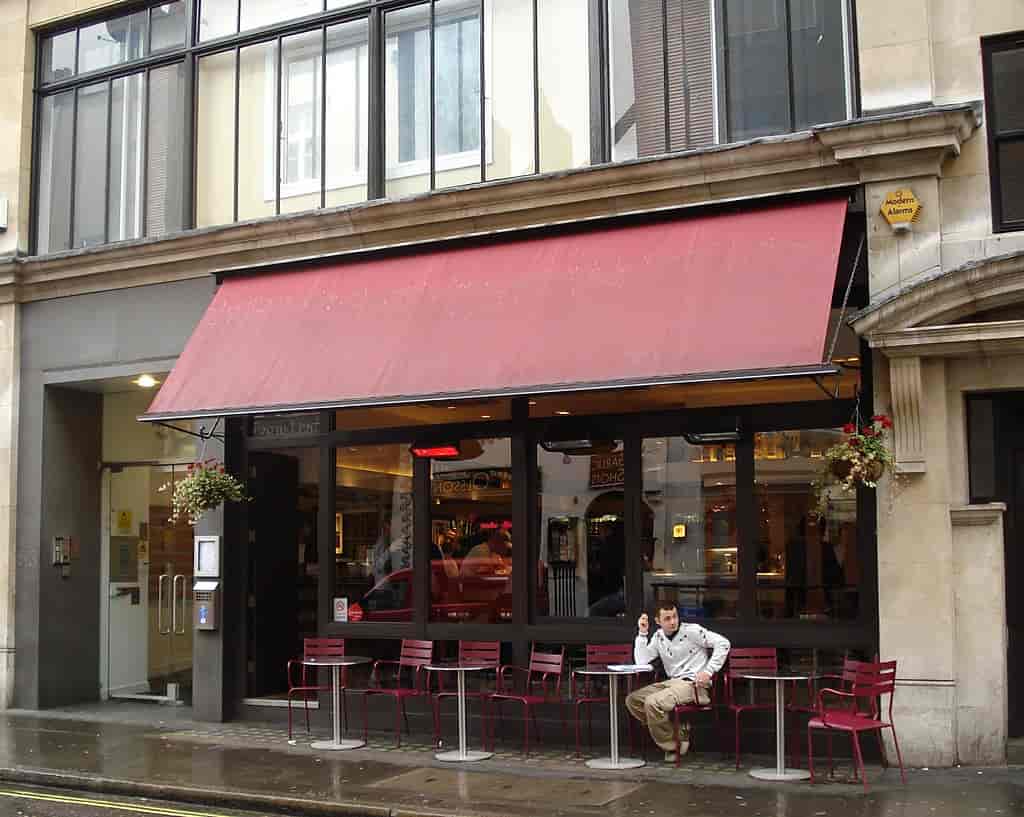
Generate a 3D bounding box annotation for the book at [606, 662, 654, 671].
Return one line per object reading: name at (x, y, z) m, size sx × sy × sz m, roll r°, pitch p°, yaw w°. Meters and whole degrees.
book at (1.243, 2.795, 15.312) m, size 0.471 × 0.110 × 0.988 m, roll -3°, pitch -9°, yaw 1°

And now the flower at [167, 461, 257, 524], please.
flower at (-3.979, 1.025, 17.962) m, size 1.100 × 0.737 × 1.098 m, roll -3°, pitch -1°, yaw 24°

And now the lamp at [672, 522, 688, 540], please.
lamp at (1.903, 1.396, 16.218) m, size 0.182 × 0.174 × 0.179 m, roll -1°, pitch -5°, yaw 17°

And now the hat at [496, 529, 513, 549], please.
hat at (-0.099, 1.568, 16.980) m, size 0.222 × 0.214 × 0.164 m, roll -11°, pitch -3°, yaw 18°

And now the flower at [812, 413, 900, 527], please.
flower at (3.703, 0.503, 14.987) m, size 0.677 × 0.683 × 0.910 m, roll -18°, pitch 11°, yaw -9°

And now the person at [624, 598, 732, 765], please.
person at (1.845, 3.025, 15.516) m, size 1.135 × 1.756 × 1.085 m, roll 15°, pitch -23°, yaw -21°

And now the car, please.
car at (-0.651, 2.215, 17.546) m, size 2.469 × 1.012 × 0.888 m, roll -1°, pitch -7°, yaw 14°
